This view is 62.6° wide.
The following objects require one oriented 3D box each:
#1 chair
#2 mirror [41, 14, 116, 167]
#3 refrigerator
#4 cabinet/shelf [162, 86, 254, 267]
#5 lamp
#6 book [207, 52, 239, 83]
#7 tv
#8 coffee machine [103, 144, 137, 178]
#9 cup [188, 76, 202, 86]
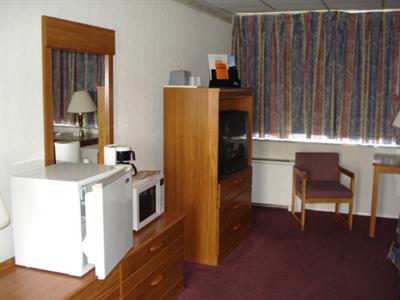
[{"bbox_3d":[1.872,0.610,5.049,0.818,1.042,0.765,0,11,1],"label":"chair"},{"bbox_3d":[-1.051,-0.379,2.901,0.052,1.388,0.712,16,18,32],"label":"mirror"},{"bbox_3d":[-0.920,0.442,2.513,0.771,0.705,0.626,3,7,19],"label":"refrigerator"},{"bbox_3d":[0.133,0.271,3.997,1.139,2.053,0.702,-3,11,-12],"label":"cabinet/shelf"},{"bbox_3d":[-1.012,-0.307,2.833,0.296,0.535,0.290,-4,8,-26],"label":"lamp"},{"bbox_3d":[0.285,-0.967,4.040,0.164,0.384,0.600,8,15,37],"label":"book"},{"bbox_3d":[0.389,-0.049,4.030,0.404,0.733,0.789,1,8,21],"label":"tv"},{"bbox_3d":[-0.718,0.089,2.901,0.321,0.356,0.208,-1,10,-7],"label":"coffee machine"},{"bbox_3d":[-0.056,-0.801,3.875,0.083,0.145,0.190,0,1,23],"label":"cup"}]
